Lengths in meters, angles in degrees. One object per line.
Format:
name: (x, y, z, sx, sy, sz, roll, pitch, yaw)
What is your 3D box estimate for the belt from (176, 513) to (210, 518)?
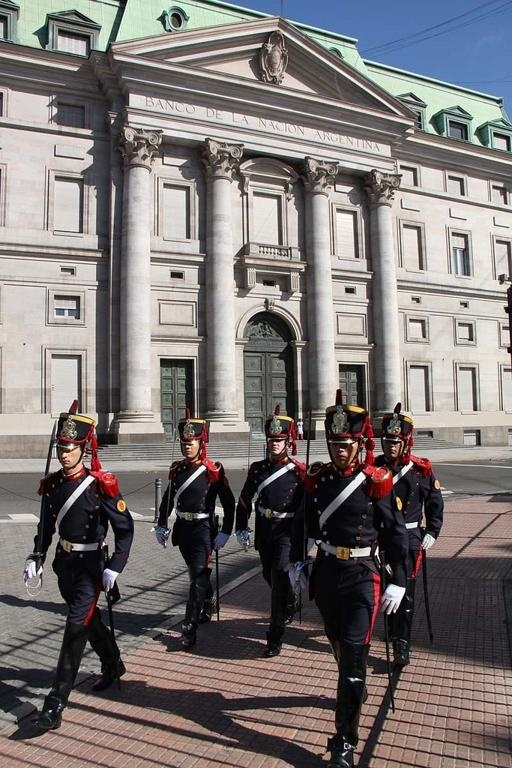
belt: (-0.629, 1.292, 7.105, 0.316, 0.078, 0.105, -1, -2, 2)

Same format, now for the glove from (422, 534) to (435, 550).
glove: (1.545, 1.411, 6.519, 0.174, 0.112, 0.074, 1, -3, -32)

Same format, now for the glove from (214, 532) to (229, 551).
glove: (-0.345, 1.526, 7.062, 0.128, 0.152, 0.145, -1, -2, -6)

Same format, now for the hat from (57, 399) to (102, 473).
hat: (-1.355, 0.388, 5.531, 0.360, 0.580, 0.301, 1, 1, 5)

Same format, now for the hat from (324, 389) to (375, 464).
hat: (0.625, 0.295, 5.254, 0.376, 0.393, 0.569, -2, -10, 18)

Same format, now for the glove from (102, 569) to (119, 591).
glove: (-1.070, 1.468, 5.398, 0.132, 0.170, 0.053, -11, -20, 36)

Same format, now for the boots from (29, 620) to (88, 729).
boots: (-1.364, 2.012, 5.044, 0.234, 0.629, 0.575, -1, -2, 6)

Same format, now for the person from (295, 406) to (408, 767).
person: (0.676, 1.160, 4.891, 0.787, 2.256, 1.206, -1, -3, 3)

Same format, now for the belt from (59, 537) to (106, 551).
belt: (-1.342, 1.226, 5.542, 0.337, 0.095, 0.203, 0, -2, -11)

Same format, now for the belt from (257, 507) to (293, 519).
belt: (0.202, 1.226, 6.818, 0.158, 0.057, 0.141, 2, 7, -27)

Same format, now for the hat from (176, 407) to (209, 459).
hat: (-0.704, 0.497, 7.289, 0.338, 0.490, 0.388, -1, -5, 7)

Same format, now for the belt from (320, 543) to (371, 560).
belt: (0.607, 1.139, 4.948, 0.352, 0.096, 0.173, -1, -2, 8)

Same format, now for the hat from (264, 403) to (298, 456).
hat: (0.216, 0.413, 7.067, 0.328, 0.309, 0.512, 6, -7, 11)
